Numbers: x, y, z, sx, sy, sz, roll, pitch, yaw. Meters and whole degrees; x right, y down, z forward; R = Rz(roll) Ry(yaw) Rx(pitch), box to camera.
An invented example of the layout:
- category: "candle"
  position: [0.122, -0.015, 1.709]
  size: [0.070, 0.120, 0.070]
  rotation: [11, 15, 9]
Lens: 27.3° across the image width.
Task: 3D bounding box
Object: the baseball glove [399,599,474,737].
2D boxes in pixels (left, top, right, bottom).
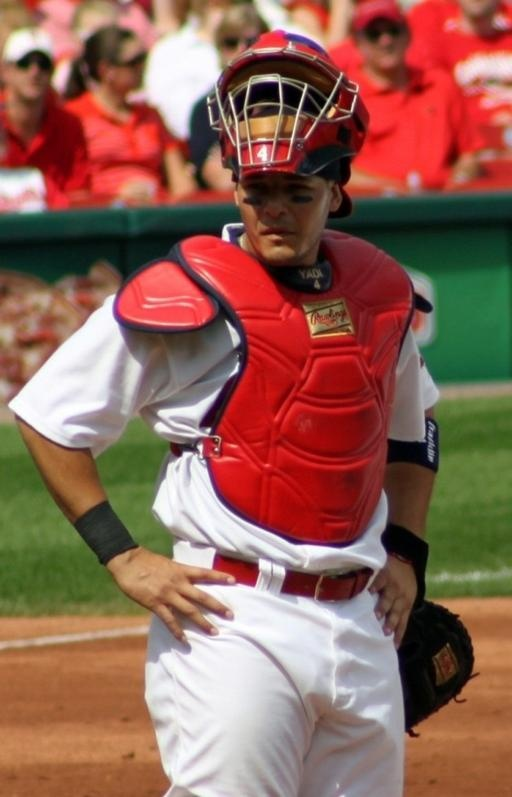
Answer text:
- category: "baseball glove"
  position: [0.378, 0.613, 2.410]
  size: [0.108, 0.227, 0.307]
  rotation: [-16, 31, 32]

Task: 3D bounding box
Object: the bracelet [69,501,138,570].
- category: "bracelet"
  position: [-0.272, 0.248, 1.930]
  size: [0.092, 0.116, 0.099]
  rotation: [-1, 12, -28]

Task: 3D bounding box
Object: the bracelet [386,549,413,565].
- category: "bracelet"
  position: [0.303, 0.336, 2.233]
  size: [0.038, 0.013, 0.031]
  rotation: [23, 6, 16]

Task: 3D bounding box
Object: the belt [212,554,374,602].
- category: "belt"
  position: [0.081, 0.333, 1.933]
  size: [0.312, 0.085, 0.075]
  rotation: [1, 11, -17]
